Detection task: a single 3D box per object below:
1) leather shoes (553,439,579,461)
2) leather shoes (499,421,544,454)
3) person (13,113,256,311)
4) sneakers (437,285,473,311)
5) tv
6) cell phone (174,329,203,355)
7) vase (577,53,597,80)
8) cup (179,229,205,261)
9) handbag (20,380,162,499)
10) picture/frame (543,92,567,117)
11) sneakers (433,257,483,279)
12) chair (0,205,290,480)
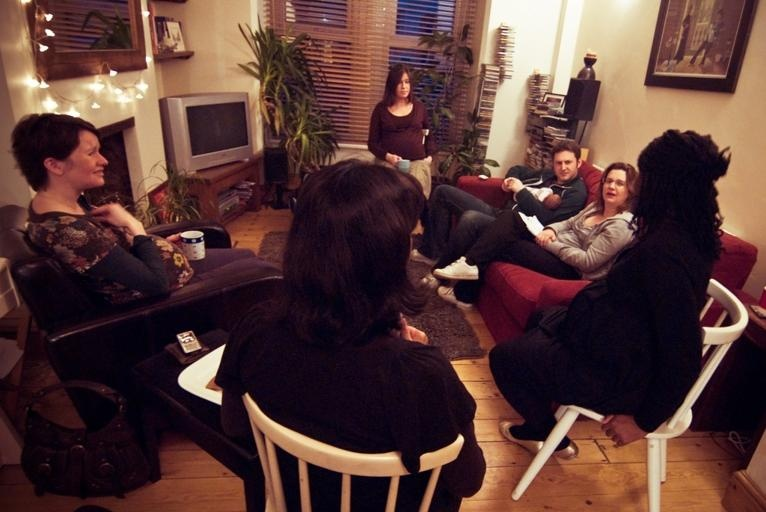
[{"bbox_3d":[0.988,1.025,2.990,0.131,0.068,0.197,-4,6,6],"label":"leather shoes"},{"bbox_3d":[0.746,0.970,3.077,0.270,0.104,0.101,27,40,36],"label":"leather shoes"},{"bbox_3d":[-1.509,-0.283,3.030,0.837,0.980,0.891,3,22,-8],"label":"person"},{"bbox_3d":[0.572,0.311,4.124,0.346,0.134,0.114,12,18,15],"label":"sneakers"},{"bbox_3d":[-1.558,-1.061,4.826,0.395,0.546,0.735,13,25,31],"label":"tv"},{"bbox_3d":[-0.944,0.426,2.721,0.101,0.072,0.103,-9,25,-31],"label":"cell phone"},{"bbox_3d":[1.720,-1.588,4.641,0.139,0.211,0.116,10,22,15],"label":"vase"},{"bbox_3d":[-1.166,-0.073,3.495,0.196,0.168,0.150,-4,33,-16],"label":"cup"},{"bbox_3d":[-1.363,0.888,2.626,0.634,0.586,0.198,0,9,-9],"label":"handbag"},{"bbox_3d":[1.570,-1.360,4.980,0.156,0.174,0.329,-4,22,-20],"label":"picture/frame"},{"bbox_3d":[0.544,0.086,4.017,0.346,0.156,0.132,3,7,5],"label":"sneakers"},{"bbox_3d":[-1.258,0.330,3.467,1.581,1.433,1.136,-22,33,-39],"label":"chair"}]
